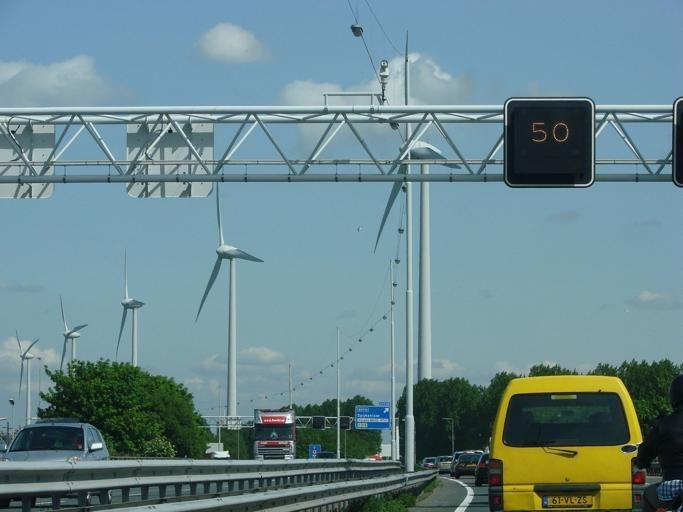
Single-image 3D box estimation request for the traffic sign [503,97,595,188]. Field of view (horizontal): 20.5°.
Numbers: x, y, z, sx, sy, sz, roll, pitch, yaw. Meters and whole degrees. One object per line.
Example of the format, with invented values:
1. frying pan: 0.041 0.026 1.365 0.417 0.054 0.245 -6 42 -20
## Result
1. traffic sign: 5.728 -3.125 51.862 2.475 2.395 0.613 0 -13 -4
